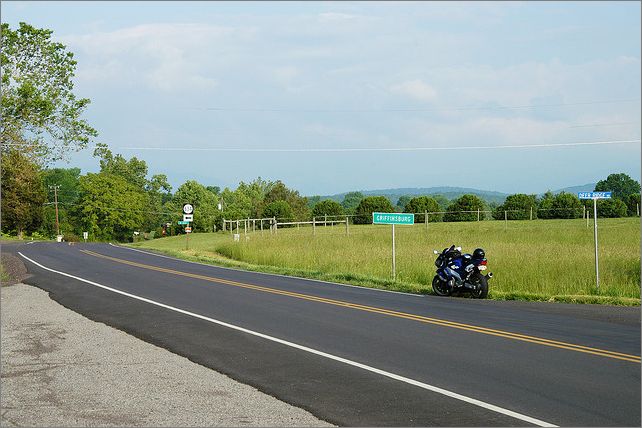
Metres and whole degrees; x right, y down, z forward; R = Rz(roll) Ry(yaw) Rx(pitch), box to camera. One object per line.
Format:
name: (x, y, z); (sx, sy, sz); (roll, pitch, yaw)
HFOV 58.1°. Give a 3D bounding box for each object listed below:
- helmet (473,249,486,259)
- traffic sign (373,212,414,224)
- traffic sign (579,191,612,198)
helmet: (6.300, 1.580, 22.993); (0.421, 0.387, 0.338); (14, -5, 36)
traffic sign: (3.481, 0.192, 27.921); (1.932, 0.519, 1.043); (-4, 8, -23)
traffic sign: (11.127, -0.790, 23.549); (1.240, 0.291, 0.653); (-2, 7, -13)
